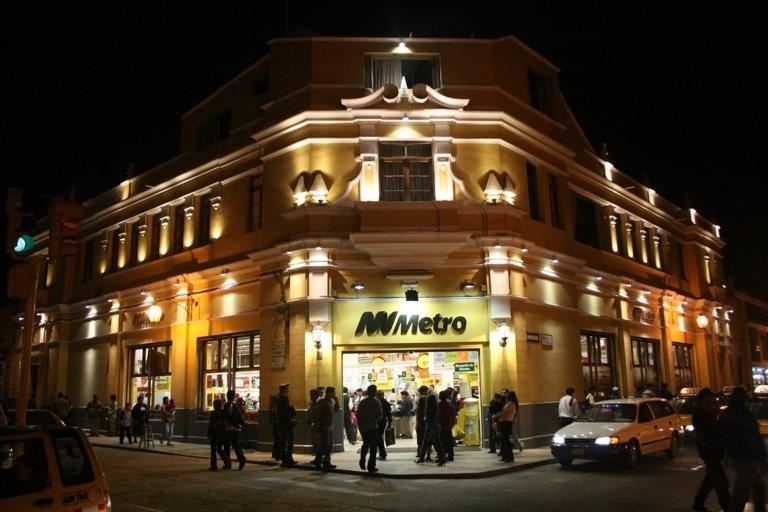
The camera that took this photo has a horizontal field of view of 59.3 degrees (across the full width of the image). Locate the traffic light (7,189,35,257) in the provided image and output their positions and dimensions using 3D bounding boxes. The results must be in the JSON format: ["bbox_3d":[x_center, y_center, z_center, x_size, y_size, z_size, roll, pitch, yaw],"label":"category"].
[{"bbox_3d":[-8.570,-0.818,15.786,0.532,1.565,0.839,0,-1,-30],"label":"traffic light"}]

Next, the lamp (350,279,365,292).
[{"bbox_3d":[-1.006,1.183,26.019,0.523,0.466,0.293,0,-1,-7],"label":"lamp"}]

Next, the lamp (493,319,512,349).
[{"bbox_3d":[4.674,3.019,26.214,0.719,1.044,0.320,0,-1,-2],"label":"lamp"}]

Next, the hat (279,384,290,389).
[{"bbox_3d":[-3.571,4.692,24.185,0.366,0.145,0.503,-1,-5,18],"label":"hat"}]
